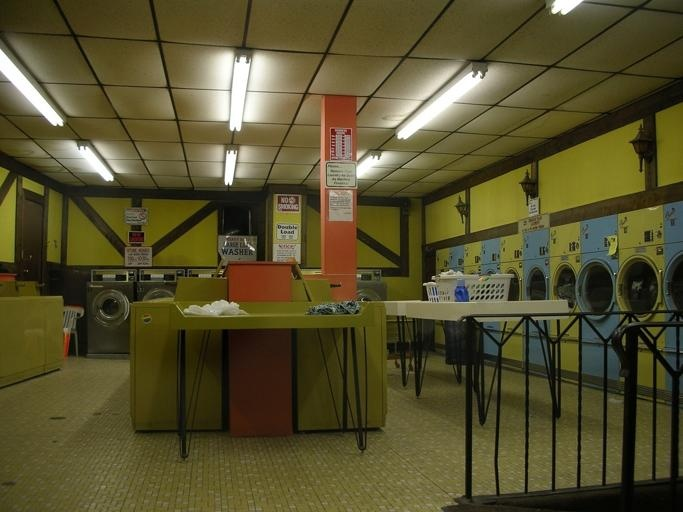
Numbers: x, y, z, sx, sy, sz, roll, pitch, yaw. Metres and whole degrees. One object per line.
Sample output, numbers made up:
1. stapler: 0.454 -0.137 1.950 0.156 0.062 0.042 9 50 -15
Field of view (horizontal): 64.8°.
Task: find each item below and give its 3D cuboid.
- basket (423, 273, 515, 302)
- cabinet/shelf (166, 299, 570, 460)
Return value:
1. basket: 1.316 0.309 5.360 0.549 0.185 0.420 -2 -3 -2
2. cabinet/shelf: 0.017 1.004 4.686 2.879 1.267 1.286 3 -7 -18
